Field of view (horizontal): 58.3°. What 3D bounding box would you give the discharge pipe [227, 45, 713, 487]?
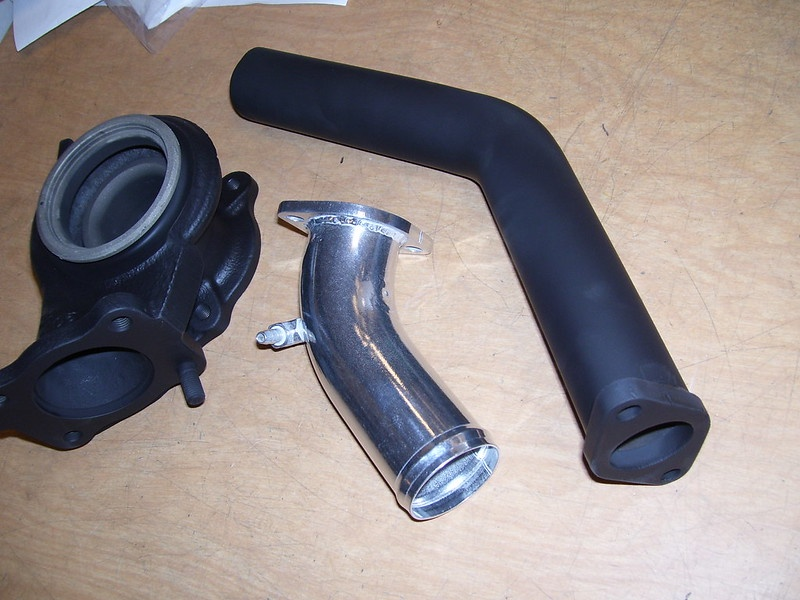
[{"bbox_3d":[0.251,-0.058,1.500,0.497,0.269,1.125,-43,71,-12],"label":"discharge pipe"}]
